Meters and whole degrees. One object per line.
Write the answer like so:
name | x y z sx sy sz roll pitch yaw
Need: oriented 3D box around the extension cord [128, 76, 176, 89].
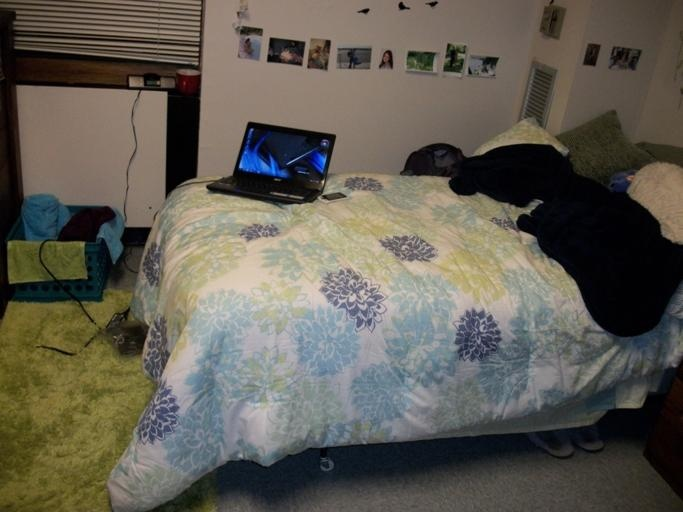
extension cord | -1.244 -1.130 3.414 0.293 0.078 0.125 -1 25 -19

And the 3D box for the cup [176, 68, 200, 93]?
cup | -1.001 -1.146 3.448 0.151 0.149 0.164 5 29 -3

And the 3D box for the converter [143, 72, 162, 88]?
converter | -1.242 -1.143 3.402 0.110 0.124 0.028 -1 -13 -12

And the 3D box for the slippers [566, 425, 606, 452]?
slippers | 1.167 0.872 2.499 0.074 0.098 0.234 -4 18 1

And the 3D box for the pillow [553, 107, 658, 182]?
pillow | 1.499 -0.639 3.029 0.422 0.133 0.461 -31 51 1

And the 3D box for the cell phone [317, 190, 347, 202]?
cell phone | -0.055 -0.309 2.740 0.132 0.015 0.098 -8 25 -18

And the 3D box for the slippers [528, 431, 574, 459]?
slippers | 0.986 0.876 2.422 0.098 0.046 0.188 -12 24 -16
